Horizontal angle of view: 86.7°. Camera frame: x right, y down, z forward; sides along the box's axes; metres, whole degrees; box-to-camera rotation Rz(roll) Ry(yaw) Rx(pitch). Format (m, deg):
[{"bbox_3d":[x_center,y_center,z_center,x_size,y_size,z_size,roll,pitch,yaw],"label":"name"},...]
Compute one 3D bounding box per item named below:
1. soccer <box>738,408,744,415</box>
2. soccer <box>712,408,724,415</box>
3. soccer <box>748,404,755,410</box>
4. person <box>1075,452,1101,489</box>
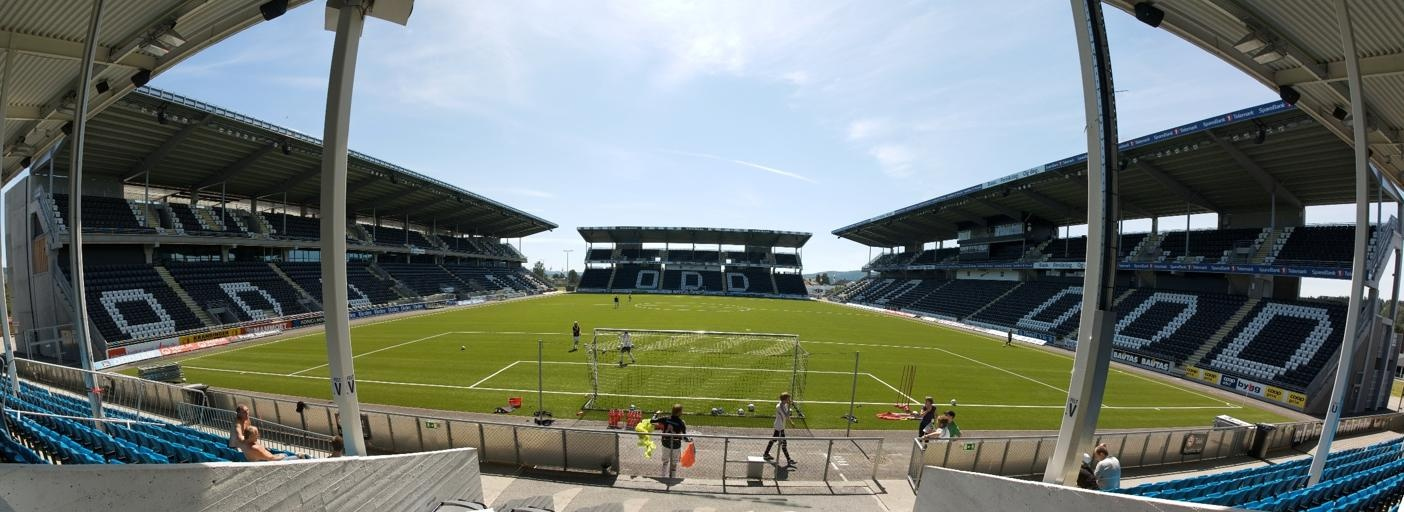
[{"bbox_3d":[3.676,14.599,70.462,0.685,0.462,0.688,2,8,7],"label":"soccer"},{"bbox_3d":[1.502,14.539,70.415,0.947,0.521,0.506,1,-44,3],"label":"soccer"},{"bbox_3d":[4.625,14.168,70.335,0.648,0.463,0.658,4,9,-2],"label":"soccer"},{"bbox_3d":[33.197,18.261,63.864,1.832,3.014,0.897,-4,11,-30],"label":"person"}]
